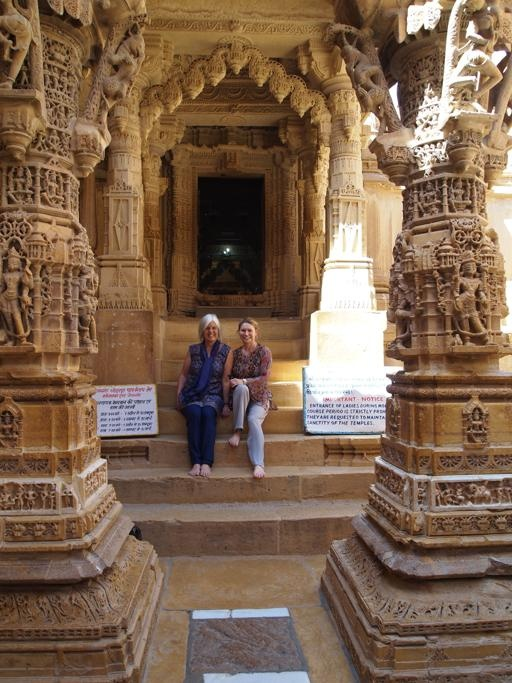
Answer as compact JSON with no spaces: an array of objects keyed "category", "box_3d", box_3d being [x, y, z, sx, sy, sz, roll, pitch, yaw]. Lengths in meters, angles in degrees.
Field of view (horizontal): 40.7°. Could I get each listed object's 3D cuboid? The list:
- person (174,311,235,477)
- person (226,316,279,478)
[{"category":"person","box_3d":[-0.381,0.342,5.023,0.398,0.932,0.915,2,13,-2]},{"category":"person","box_3d":[-0.037,0.387,5.045,0.321,0.952,0.869,2,14,-2]}]
